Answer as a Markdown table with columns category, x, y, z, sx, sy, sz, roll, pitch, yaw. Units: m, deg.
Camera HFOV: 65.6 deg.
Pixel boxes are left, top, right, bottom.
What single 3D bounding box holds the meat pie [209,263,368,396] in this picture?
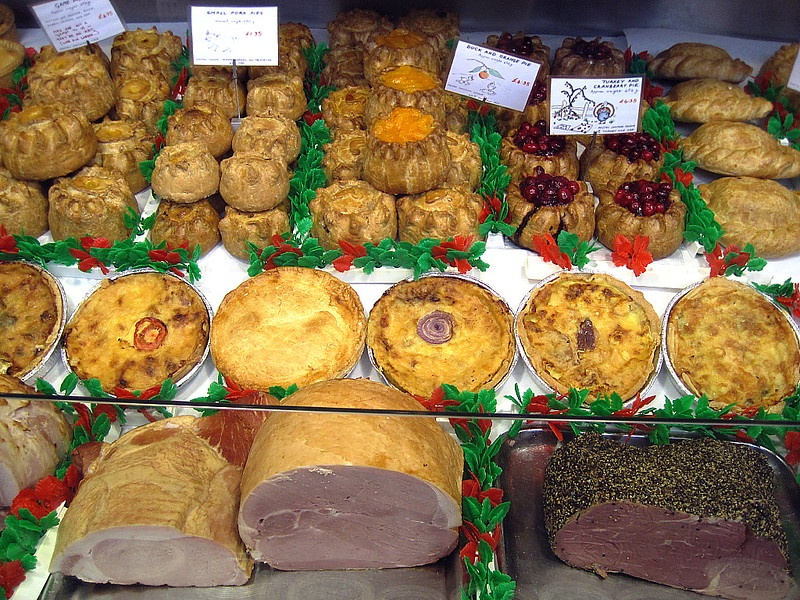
| category | x | y | z | sx | sy | sz | roll | pitch | yaw |
| --- | --- | --- | --- | --- | --- | --- | --- | --- | --- |
| meat pie | -0.449 | 0.110 | 2.526 | 0.611 | 0.074 | 0.556 | -3 | 56 | -7 |

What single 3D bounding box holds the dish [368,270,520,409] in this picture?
| category | x | y | z | sx | sy | sz | roll | pitch | yaw |
| --- | --- | --- | --- | --- | --- | --- | --- | --- | --- |
| dish | 0.162 | 0.124 | 2.565 | 0.600 | 0.139 | 0.563 | 0 | 56 | -5 |

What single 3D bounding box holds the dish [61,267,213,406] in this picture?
| category | x | y | z | sx | sy | sz | roll | pitch | yaw |
| --- | --- | --- | --- | --- | --- | --- | --- | --- | --- |
| dish | -1.078 | 0.121 | 2.566 | 0.581 | 0.089 | 0.546 | -7 | 57 | -10 |

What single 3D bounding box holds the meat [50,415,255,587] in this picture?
| category | x | y | z | sx | sy | sz | roll | pitch | yaw |
| --- | --- | --- | --- | --- | --- | --- | --- | --- | --- |
| meat | -0.736 | 0.654 | 2.037 | 0.594 | 0.293 | 0.574 | 11 | 56 | 3 |

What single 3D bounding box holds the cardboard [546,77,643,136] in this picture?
| category | x | y | z | sx | sy | sz | roll | pitch | yaw |
| --- | --- | --- | --- | --- | --- | --- | --- | --- | --- |
| cardboard | 0.870 | -0.883 | 2.790 | 0.360 | 0.232 | 0.013 | 0 | 42 | 1 |

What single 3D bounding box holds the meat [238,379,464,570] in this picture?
| category | x | y | z | sx | sy | sz | roll | pitch | yaw |
| --- | --- | --- | --- | --- | --- | --- | --- | --- | --- |
| meat | -0.156 | 0.585 | 2.132 | 0.764 | 0.432 | 0.518 | 1 | 26 | -6 |
